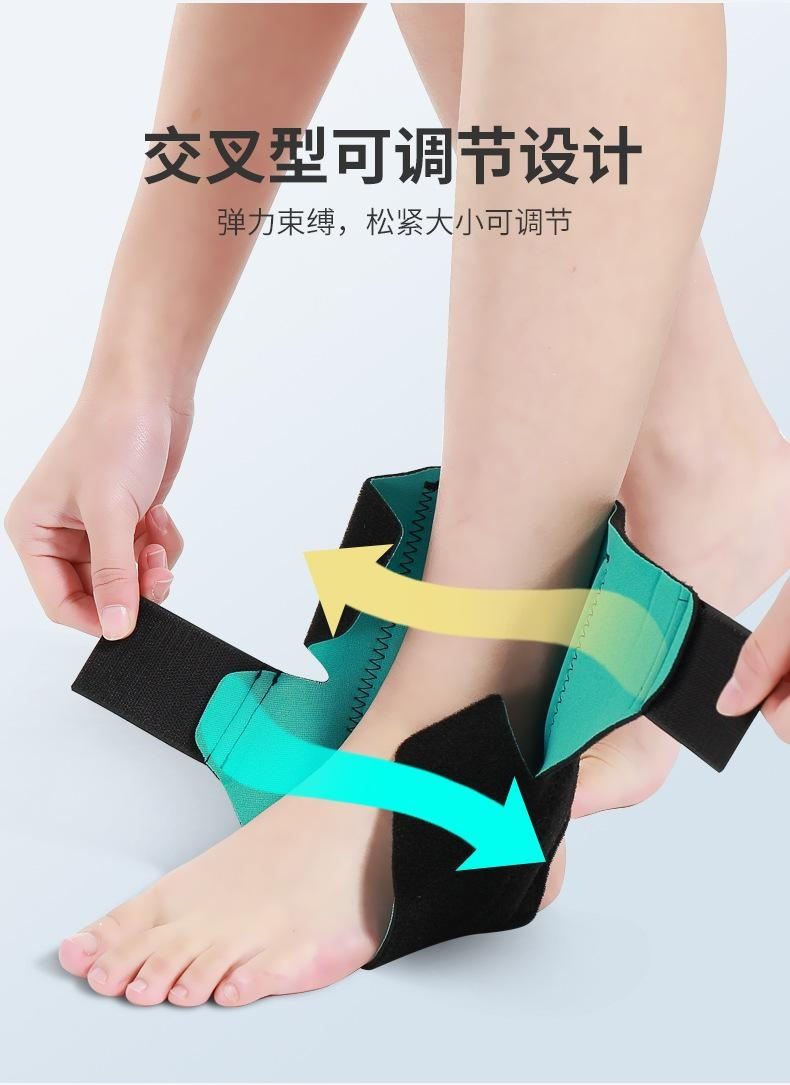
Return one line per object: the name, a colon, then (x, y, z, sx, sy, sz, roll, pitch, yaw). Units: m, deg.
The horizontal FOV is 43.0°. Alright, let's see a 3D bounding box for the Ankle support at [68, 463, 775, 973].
Ankle support: (-0.023, 0.159, 0.813, 0.225, 0.276, 0.376, -38, 59, -22)
